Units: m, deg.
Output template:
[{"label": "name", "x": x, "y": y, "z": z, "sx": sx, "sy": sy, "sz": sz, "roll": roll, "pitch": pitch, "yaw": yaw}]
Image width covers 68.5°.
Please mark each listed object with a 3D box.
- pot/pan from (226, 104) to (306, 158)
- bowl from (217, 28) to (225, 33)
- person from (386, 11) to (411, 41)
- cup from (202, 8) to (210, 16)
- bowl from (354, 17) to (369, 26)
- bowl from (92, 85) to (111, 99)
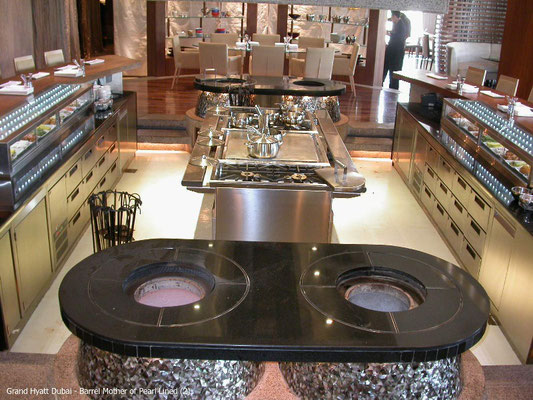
[{"label": "pot/pan", "x": -0.054, "y": -0.738, "z": 3.577, "sx": 0.497, "sy": 0.516, "sz": 0.775, "roll": 9, "pitch": 21, "yaw": 19}, {"label": "bowl", "x": -1.218, "y": -4.545, "z": 10.486, "sx": 0.162, "sy": 0.063, "sz": 0.117, "roll": -14, "pitch": 28, "yaw": -28}, {"label": "person", "x": 3.288, "y": -4.268, "z": 9.619, "sx": 0.498, "sy": 0.645, "sz": 1.421, "roll": 9, "pitch": 26, "yaw": 15}, {"label": "cup", "x": -1.623, "y": -5.067, "z": 10.585, "sx": 0.225, "sy": 0.205, "sz": 0.275, "roll": -17, "pitch": 42, "yaw": -19}, {"label": "bowl", "x": 2.503, "y": -4.665, "z": 10.223, "sx": 0.325, "sy": 0.221, "sz": 0.860, "roll": 7, "pitch": 25, "yaw": 11}, {"label": "bowl", "x": -2.235, "y": -1.456, "z": 5.307, "sx": 0.233, "sy": 0.175, "sz": 0.142, "roll": -4, "pitch": 33, "yaw": -16}]
